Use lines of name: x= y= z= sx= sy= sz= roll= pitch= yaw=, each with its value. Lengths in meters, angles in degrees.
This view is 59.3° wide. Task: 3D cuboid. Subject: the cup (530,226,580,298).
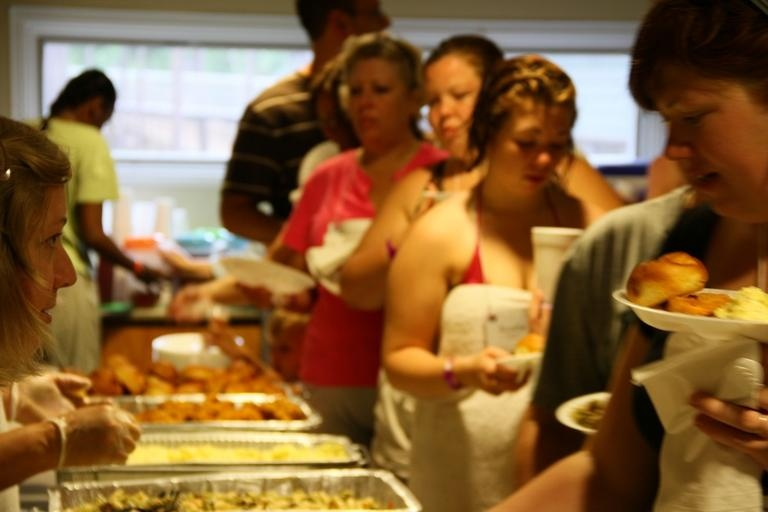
cup: x=0.476 y=0.011 z=2.036 sx=0.198 sy=0.258 sz=0.180 roll=0 pitch=-4 yaw=11

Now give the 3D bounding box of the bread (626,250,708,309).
bread: x=0.680 y=0.049 z=1.613 sx=0.203 sy=0.096 sz=0.153 roll=-15 pitch=2 yaw=25

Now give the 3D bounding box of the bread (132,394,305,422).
bread: x=-0.515 y=0.483 z=2.099 sx=0.294 sy=0.038 sz=0.184 roll=0 pitch=4 yaw=-1

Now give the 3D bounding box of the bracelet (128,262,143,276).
bracelet: x=-0.766 y=0.043 z=2.108 sx=0.042 sy=0.034 sz=0.041 roll=10 pitch=-22 yaw=-36

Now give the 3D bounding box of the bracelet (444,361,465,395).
bracelet: x=0.186 y=0.336 z=1.885 sx=0.025 sy=0.068 sz=0.062 roll=-21 pitch=-10 yaw=6

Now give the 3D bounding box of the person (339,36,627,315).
person: x=0.294 y=-0.238 z=1.873 sx=0.761 sy=0.565 sz=0.372 roll=-7 pitch=8 yaw=2

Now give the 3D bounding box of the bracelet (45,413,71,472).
bracelet: x=-0.783 y=0.459 z=1.620 sx=0.036 sy=0.120 sz=0.138 roll=-4 pitch=-6 yaw=-19
